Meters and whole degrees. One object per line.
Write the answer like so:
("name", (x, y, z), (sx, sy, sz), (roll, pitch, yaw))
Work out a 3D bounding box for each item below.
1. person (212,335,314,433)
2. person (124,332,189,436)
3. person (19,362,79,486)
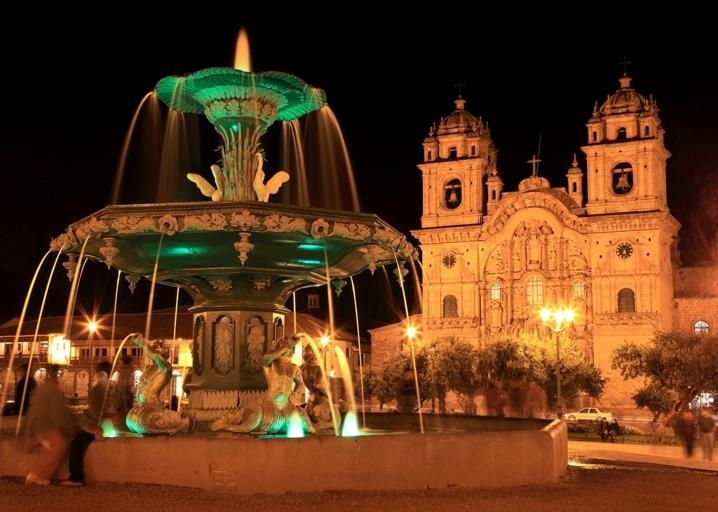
("person", (-1.400, 1.817, 12.192), (1.285, 1.110, 0.491), (4, -24, -15))
("person", (-2.790, 1.791, 12.175), (0.836, 1.399, 0.736), (4, -13, -13))
("person", (-3.763, 2.038, 10.661), (0.626, 1.433, 0.339), (0, -13, 4))
